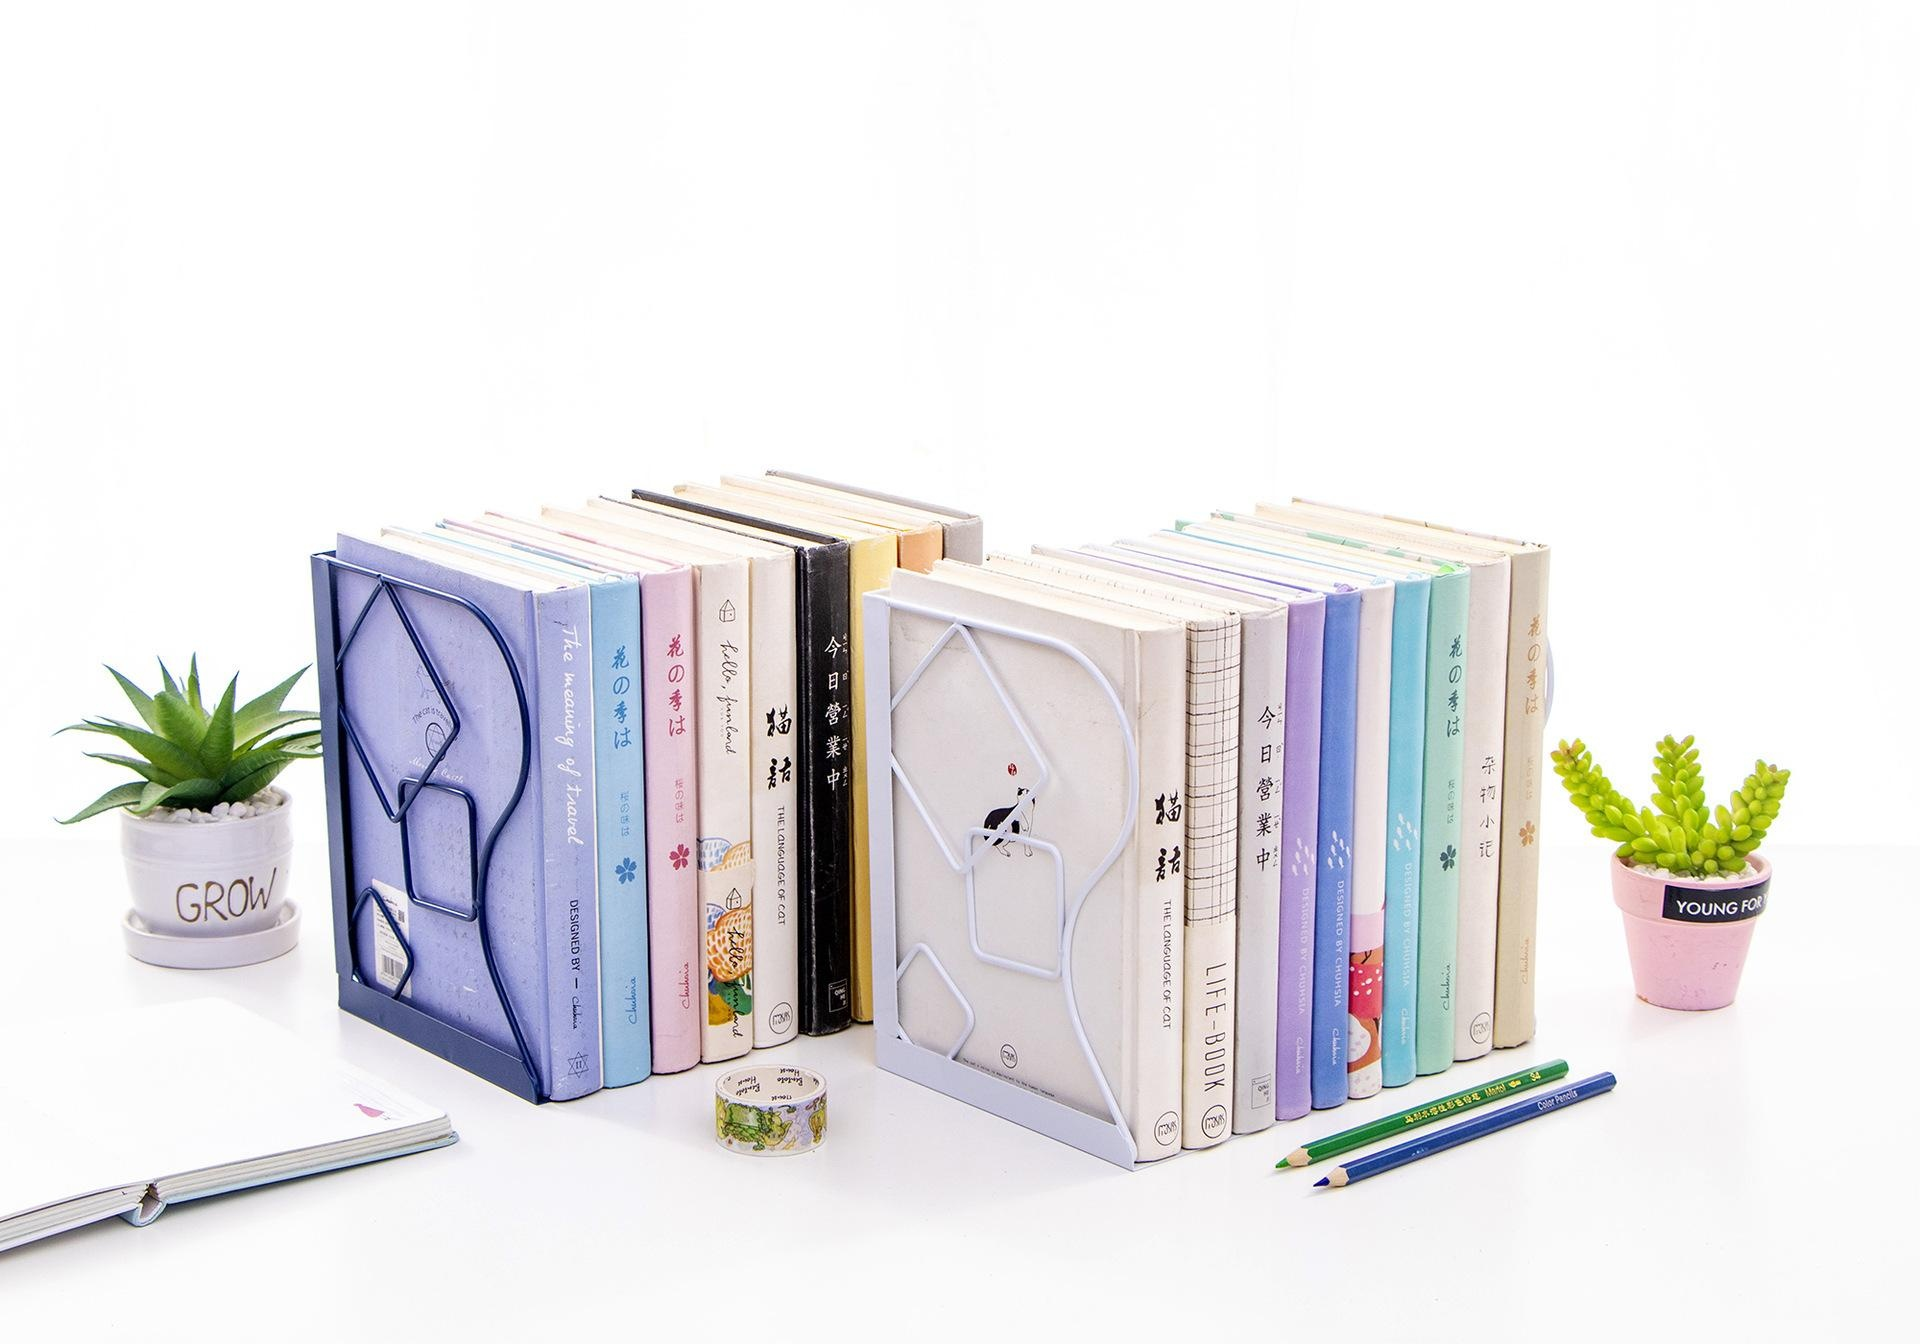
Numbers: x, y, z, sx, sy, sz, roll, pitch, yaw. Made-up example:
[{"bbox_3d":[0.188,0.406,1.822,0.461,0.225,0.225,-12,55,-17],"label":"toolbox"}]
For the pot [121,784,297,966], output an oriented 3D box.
[{"bbox_3d":[-1.194,0.348,3.037,0.268,0.214,0.267,1,13,0],"label":"pot"}]
